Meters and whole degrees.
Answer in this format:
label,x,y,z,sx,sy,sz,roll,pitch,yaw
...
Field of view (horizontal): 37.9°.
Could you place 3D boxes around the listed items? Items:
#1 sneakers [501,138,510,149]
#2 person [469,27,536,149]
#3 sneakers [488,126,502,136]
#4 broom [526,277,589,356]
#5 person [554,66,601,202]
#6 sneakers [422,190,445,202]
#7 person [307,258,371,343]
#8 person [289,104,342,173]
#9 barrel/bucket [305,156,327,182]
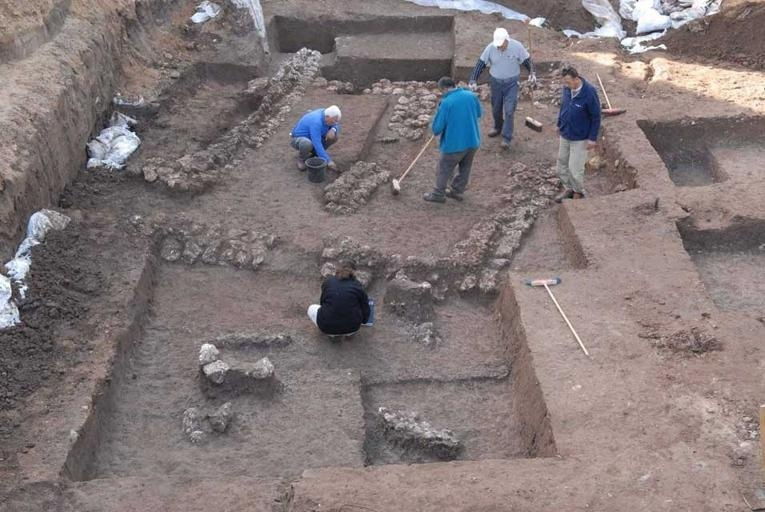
label,x,y,z,sx,sy,sz,roll,pitch,yaw
sneakers,1.830,-1.647,16.269,0.113,0.085,0.145,15,38,-9
person,1.734,-2.417,16.106,0.649,1.707,0.905,18,33,38
sneakers,1.711,-1.861,16.598,0.080,0.093,0.221,35,42,28
broom,2.273,0.667,13.650,0.393,0.125,1.177,-23,62,-19
person,2.641,-1.612,14.979,0.538,1.850,0.662,-18,27,-35
sneakers,0.756,-0.820,15.415,0.258,0.106,0.138,4,58,3
person,-0.512,0.499,14.068,0.977,1.136,0.837,2,14,-6
person,-0.887,-1.660,15.742,0.983,0.826,1.008,-10,31,-15
barrel/bucket,-0.902,-1.224,15.628,0.312,0.289,0.326,0,43,0
